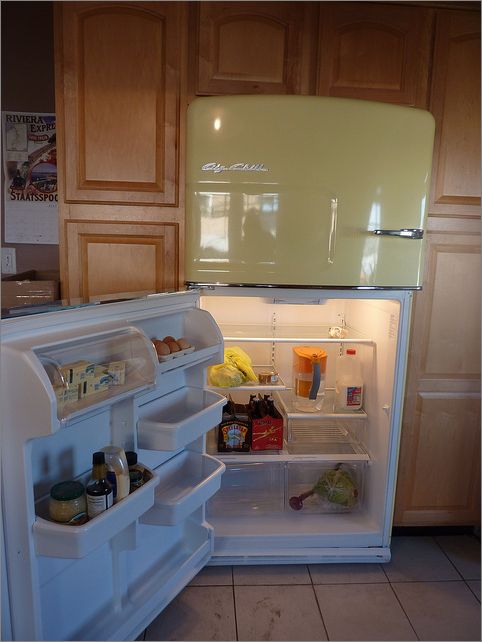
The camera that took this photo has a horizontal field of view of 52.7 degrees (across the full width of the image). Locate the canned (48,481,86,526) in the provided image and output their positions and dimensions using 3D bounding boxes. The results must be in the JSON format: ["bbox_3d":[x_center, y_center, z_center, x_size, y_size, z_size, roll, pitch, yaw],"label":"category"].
[{"bbox_3d":[-0.346,0.368,0.965,0.070,0.076,0.074,5,11,20],"label":"canned"}]

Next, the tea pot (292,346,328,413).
[{"bbox_3d":[0.274,0.234,1.947,0.119,0.233,0.219,2,11,-3],"label":"tea pot"}]

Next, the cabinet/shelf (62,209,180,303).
[{"bbox_3d":[-0.423,-0.225,1.699,0.312,0.339,0.272,-2,12,-8],"label":"cabinet/shelf"}]

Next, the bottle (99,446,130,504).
[{"bbox_3d":[-0.265,0.322,1.040,0.044,0.118,0.070,4,9,18],"label":"bottle"}]

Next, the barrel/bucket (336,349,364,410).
[{"bbox_3d":[0.450,0.234,1.994,0.104,0.233,0.124,-3,11,-16],"label":"barrel/bucket"}]

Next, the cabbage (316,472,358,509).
[{"bbox_3d":[0.371,0.645,1.962,0.145,0.135,0.160,0,11,-14],"label":"cabbage"}]
